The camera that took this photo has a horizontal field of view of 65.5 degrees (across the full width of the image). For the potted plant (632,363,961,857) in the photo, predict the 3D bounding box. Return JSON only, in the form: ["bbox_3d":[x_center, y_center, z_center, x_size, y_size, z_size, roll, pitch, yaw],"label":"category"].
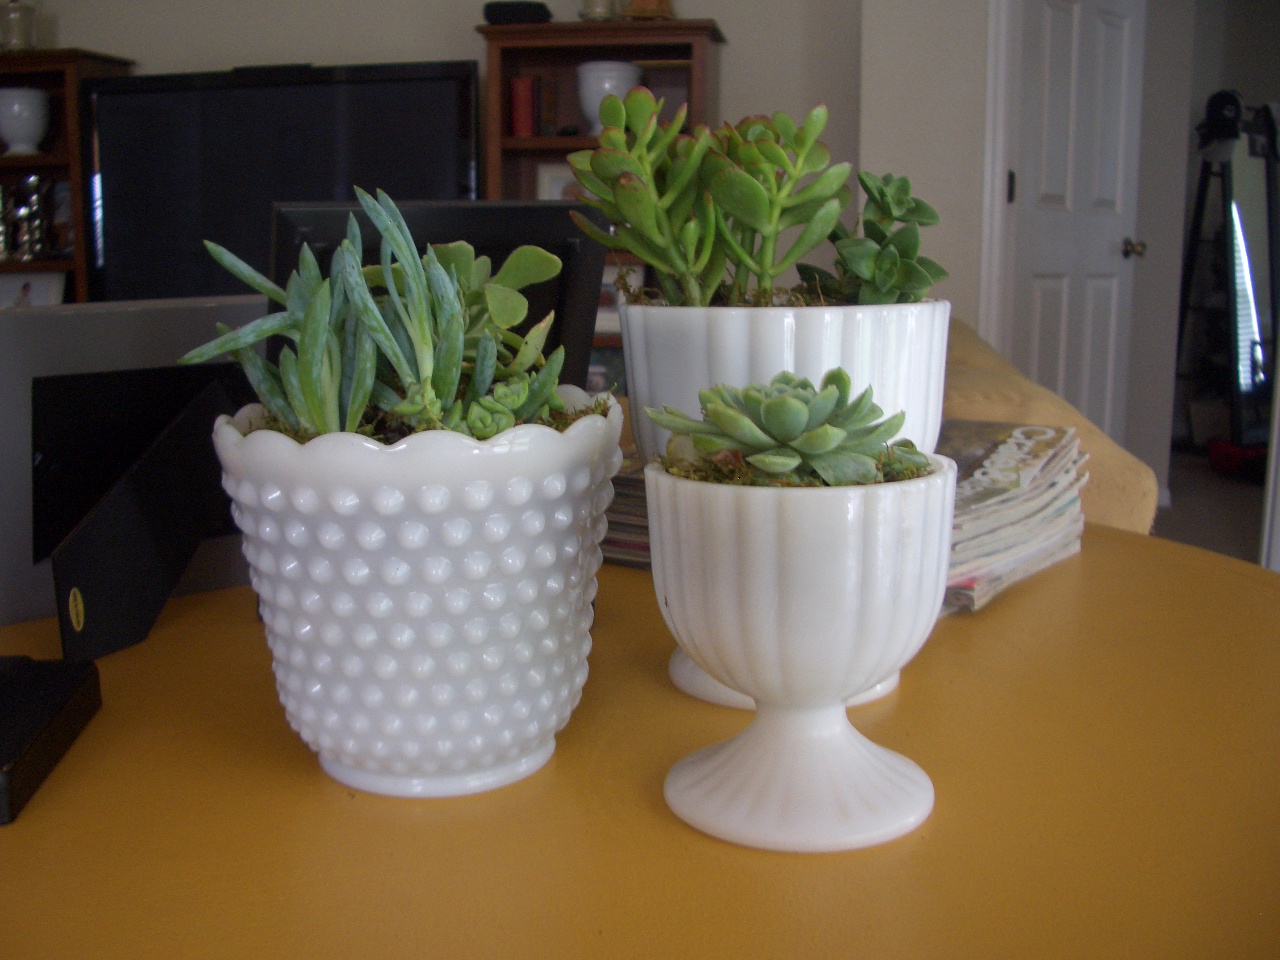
[{"bbox_3d":[0.083,0.047,0.519,0.151,0.216,0.167,2,16,12],"label":"potted plant"}]

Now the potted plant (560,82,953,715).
[{"bbox_3d":[0.078,-0.075,0.697,0.247,0.399,0.215,5,-7,27],"label":"potted plant"}]

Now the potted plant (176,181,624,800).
[{"bbox_3d":[-0.122,0.011,0.571,0.201,0.303,0.203,-4,13,-11],"label":"potted plant"}]
